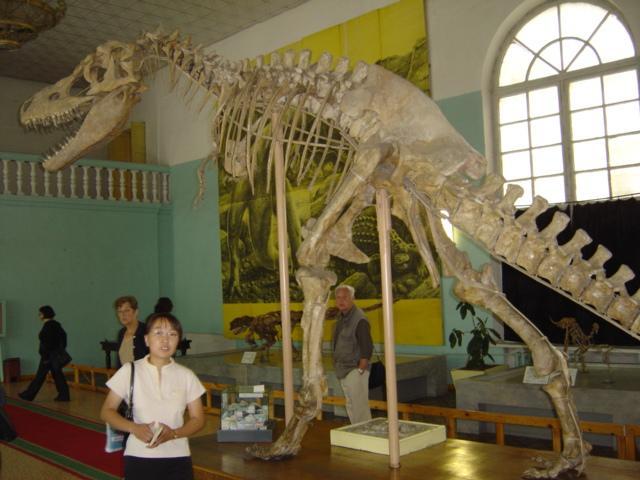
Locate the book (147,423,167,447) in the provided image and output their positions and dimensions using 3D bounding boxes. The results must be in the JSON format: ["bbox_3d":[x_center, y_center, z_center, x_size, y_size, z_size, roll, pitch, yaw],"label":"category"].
[{"bbox_3d":[-0.928,1.106,2.910,0.037,0.116,0.115,14,27,-10],"label":"book"}]

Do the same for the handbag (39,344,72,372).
[{"bbox_3d":[-4.223,1.922,8.235,0.479,0.327,0.209,-2,-5,-1],"label":"handbag"}]

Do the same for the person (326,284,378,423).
[{"bbox_3d":[0.340,1.161,5.134,0.394,1.410,0.615,-2,-5,3],"label":"person"}]
